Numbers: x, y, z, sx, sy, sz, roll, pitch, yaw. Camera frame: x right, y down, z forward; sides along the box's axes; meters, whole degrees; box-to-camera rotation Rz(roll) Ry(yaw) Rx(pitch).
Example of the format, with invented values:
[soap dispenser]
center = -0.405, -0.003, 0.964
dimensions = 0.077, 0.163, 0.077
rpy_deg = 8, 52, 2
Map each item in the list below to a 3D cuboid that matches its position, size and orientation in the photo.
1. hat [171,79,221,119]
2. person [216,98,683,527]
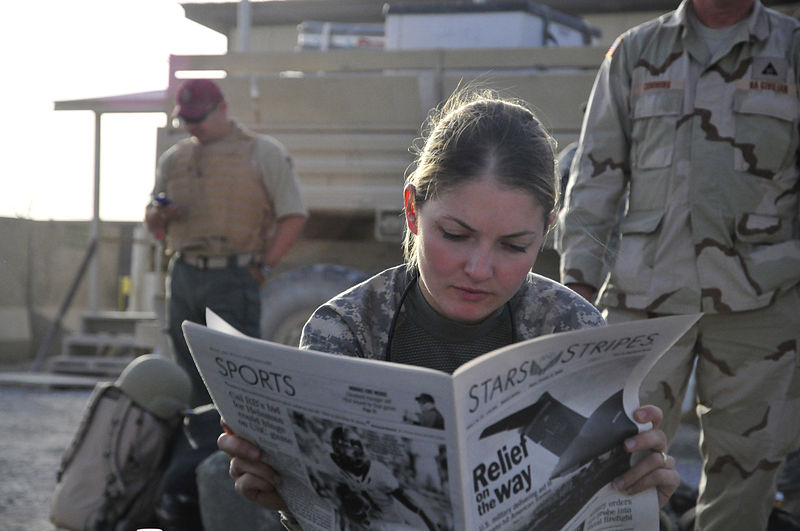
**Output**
[hat]
center = -0.695, -0.585, 4.723
dimensions = 0.109, 0.151, 0.146
rpy_deg = -4, 6, -16
[person]
center = 0.172, 0.172, 4.542
dimensions = 1.447, 1.443, 0.846
rpy_deg = 4, 6, -8
